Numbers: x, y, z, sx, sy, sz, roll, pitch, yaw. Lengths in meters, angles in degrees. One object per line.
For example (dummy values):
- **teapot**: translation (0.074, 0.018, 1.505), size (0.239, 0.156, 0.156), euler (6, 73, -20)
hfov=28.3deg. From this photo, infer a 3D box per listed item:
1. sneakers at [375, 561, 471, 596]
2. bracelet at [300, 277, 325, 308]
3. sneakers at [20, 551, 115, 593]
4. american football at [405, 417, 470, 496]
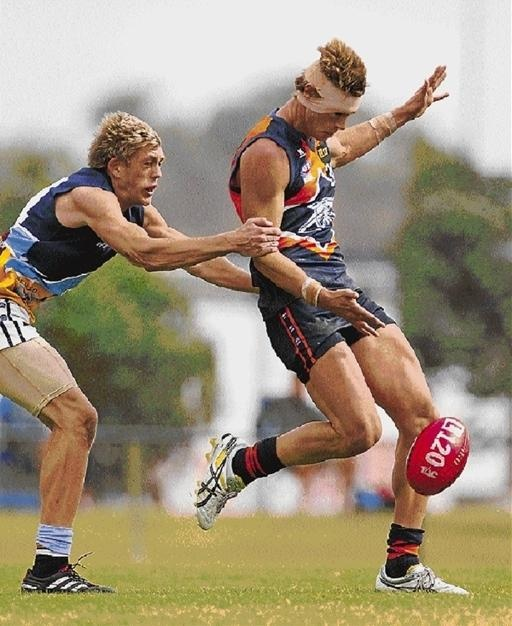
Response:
- **sneakers**: translation (0.619, 0.976, 3.782), size (0.354, 0.108, 0.122), euler (3, -12, 4)
- **bracelet**: translation (0.189, -0.072, 3.487), size (0.084, 0.081, 0.105), euler (-2, 0, -35)
- **sneakers**: translation (-0.686, 0.920, 3.631), size (0.375, 0.146, 0.115), euler (3, -6, -1)
- **american football**: translation (0.642, 0.507, 3.583), size (0.212, 0.272, 0.106), euler (5, 0, 7)
